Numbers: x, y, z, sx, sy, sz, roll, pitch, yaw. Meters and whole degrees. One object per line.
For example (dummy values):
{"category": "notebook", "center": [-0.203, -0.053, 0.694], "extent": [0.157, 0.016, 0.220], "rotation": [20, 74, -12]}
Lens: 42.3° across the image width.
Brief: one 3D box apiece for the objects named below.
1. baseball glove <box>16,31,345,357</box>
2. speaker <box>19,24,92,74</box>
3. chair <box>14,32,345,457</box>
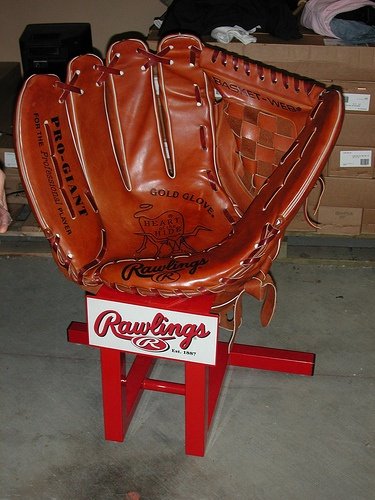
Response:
{"category": "baseball glove", "center": [-0.014, -0.126, 1.098], "extent": [0.641, 0.658, 0.497], "rotation": [9, 29, 21]}
{"category": "speaker", "center": [-0.494, -0.744, 1.786], "extent": [0.190, 0.168, 0.152], "rotation": [3, 30, 0]}
{"category": "chair", "center": [0.030, -0.028, 1.265], "extent": [0.807, 0.821, 0.497], "rotation": [5, 44, 15]}
